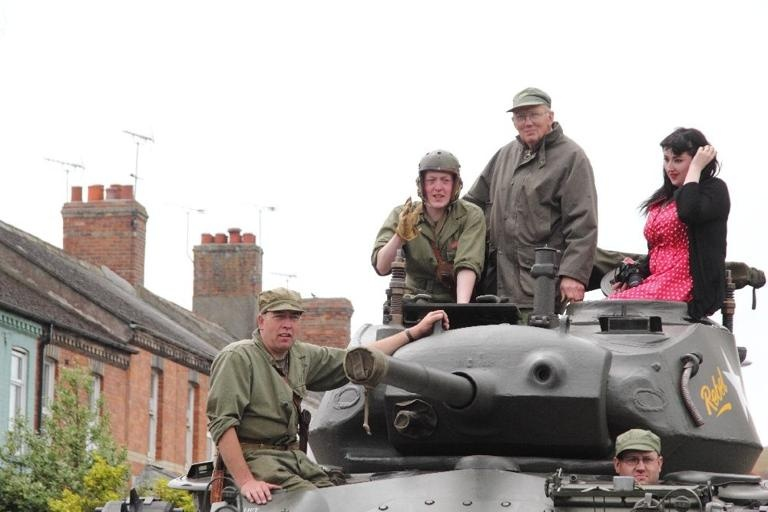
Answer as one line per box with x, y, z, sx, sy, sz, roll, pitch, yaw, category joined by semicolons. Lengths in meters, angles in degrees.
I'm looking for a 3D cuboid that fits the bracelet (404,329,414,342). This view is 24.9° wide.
0.294;0.935;20.554;0.056;0.123;0.099;-27;9;-20;bracelet

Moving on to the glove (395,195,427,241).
0.313;-0.491;21.616;0.340;0.572;0.759;-2;-13;1;glove

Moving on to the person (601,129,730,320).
3.669;-0.369;21.635;1.215;2.462;0.829;-3;-12;8;person
